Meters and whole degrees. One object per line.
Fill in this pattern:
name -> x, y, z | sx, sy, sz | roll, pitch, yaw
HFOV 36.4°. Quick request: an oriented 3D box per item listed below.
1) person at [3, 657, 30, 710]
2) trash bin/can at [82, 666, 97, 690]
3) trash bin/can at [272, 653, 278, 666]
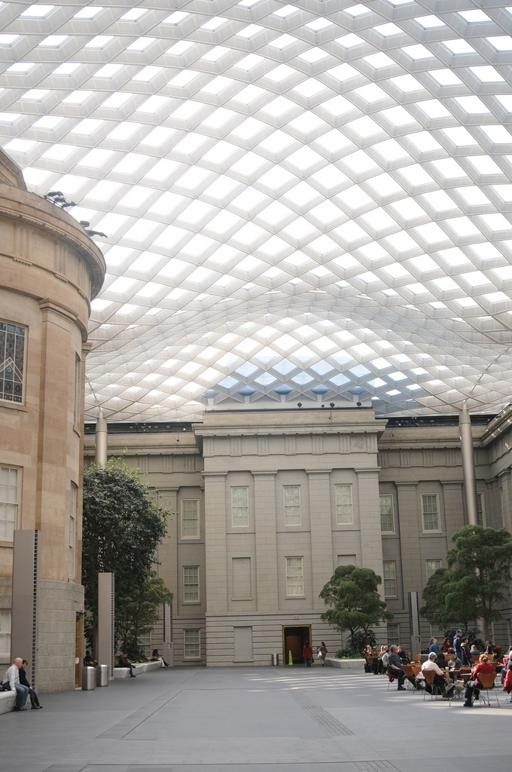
person -> -4.342, 5.363, 14.089 | 0.383, 0.888, 0.692 | 1, -15, -16
trash bin/can -> -4.217, 7.316, 19.510 | 0.289, 0.539, 0.599 | 2, -15, -18
trash bin/can -> 1.127, 14.973, 42.708 | 0.416, 0.707, 0.554 | 2, -11, -6
